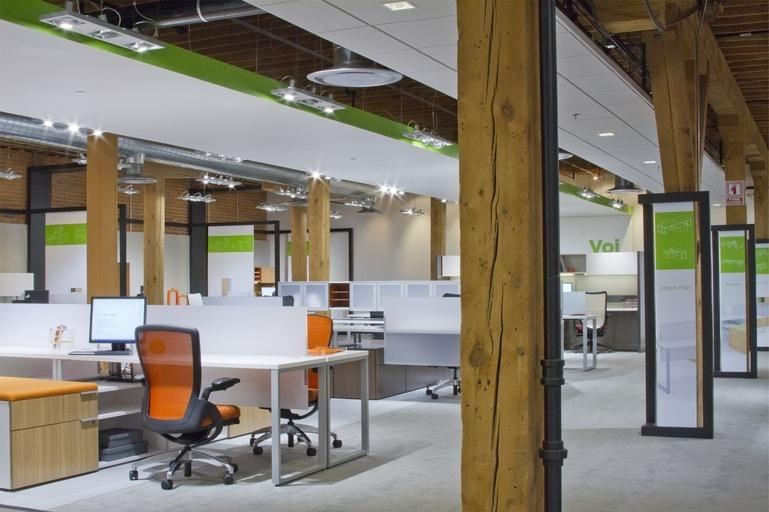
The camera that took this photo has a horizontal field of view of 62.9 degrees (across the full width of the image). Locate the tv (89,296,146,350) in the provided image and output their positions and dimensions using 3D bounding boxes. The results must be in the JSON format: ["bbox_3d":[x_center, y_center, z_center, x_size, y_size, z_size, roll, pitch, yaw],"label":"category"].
[{"bbox_3d":[-3.073,0.772,7.343,0.853,0.611,0.159,-2,-4,25],"label":"tv"}]

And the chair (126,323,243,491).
[{"bbox_3d":[-1.914,1.448,6.234,0.848,1.218,0.630,-1,1,20],"label":"chair"}]

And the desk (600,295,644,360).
[{"bbox_3d":[6.199,1.911,16.387,1.054,1.152,1.848,-2,1,1],"label":"desk"}]

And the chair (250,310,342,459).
[{"bbox_3d":[-1.127,1.522,7.527,1.158,1.452,1.099,-5,0,-16],"label":"chair"}]

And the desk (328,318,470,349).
[{"bbox_3d":[0.223,1.199,9.820,1.646,0.306,0.964,0,-1,15],"label":"desk"}]
